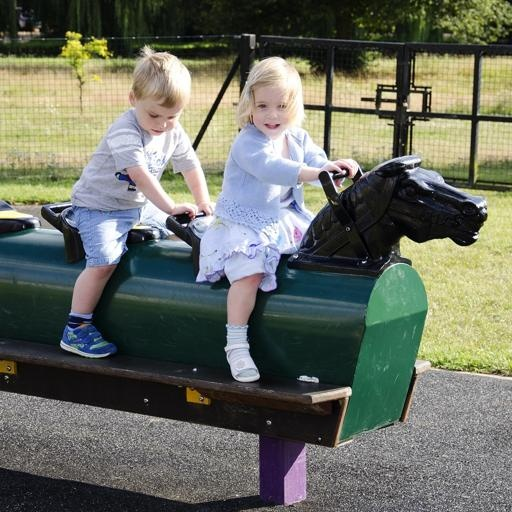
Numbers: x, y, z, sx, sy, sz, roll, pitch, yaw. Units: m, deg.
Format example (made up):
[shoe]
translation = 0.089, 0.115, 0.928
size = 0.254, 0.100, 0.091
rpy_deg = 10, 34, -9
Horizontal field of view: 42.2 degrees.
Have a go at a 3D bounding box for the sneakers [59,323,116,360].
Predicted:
[sneakers]
translation = -0.642, 0.323, 2.515
size = 0.252, 0.104, 0.093
rpy_deg = 11, 6, 12

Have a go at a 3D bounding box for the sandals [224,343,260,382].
[sandals]
translation = -0.047, 0.358, 2.215
size = 0.061, 0.064, 0.169
rpy_deg = -3, 6, -17

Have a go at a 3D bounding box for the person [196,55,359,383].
[person]
translation = 0.092, -0.163, 2.393
size = 0.568, 1.084, 0.559
rpy_deg = -6, 14, -22
